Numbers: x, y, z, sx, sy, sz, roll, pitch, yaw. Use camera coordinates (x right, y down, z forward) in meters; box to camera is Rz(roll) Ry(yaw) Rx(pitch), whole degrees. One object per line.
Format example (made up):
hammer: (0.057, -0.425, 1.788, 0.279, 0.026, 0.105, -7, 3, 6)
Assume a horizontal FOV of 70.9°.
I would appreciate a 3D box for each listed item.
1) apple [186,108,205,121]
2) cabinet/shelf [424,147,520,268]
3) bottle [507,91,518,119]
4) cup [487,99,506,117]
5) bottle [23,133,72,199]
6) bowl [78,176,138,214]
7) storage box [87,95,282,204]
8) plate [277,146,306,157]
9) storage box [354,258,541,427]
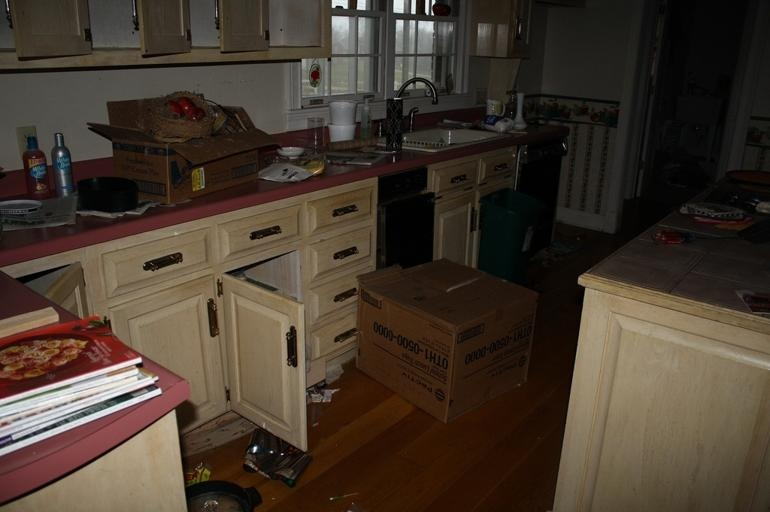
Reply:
apple: (-0.889, -0.669, 2.545, 0.082, 0.043, 0.079, -12, 48, -26)
cabinet/shelf: (0.567, -0.302, 3.652, 0.361, 0.637, 0.718, 13, 24, 36)
bottle: (1.115, -1.339, 4.799, 0.064, 0.233, 0.198, 13, 27, 32)
cup: (0.919, -1.246, 4.537, 0.209, 0.169, 0.131, 0, 11, -1)
bottle: (-1.516, -0.402, 2.403, 0.241, 0.269, 0.173, 15, 28, 36)
bowl: (-1.176, -0.259, 2.353, 0.276, 0.110, 0.206, 3, 6, 11)
storage box: (-0.984, -0.544, 2.589, 0.647, 0.409, 0.771, 19, 24, 25)
plate: (-0.535, -0.594, 3.076, 0.089, 0.025, 0.088, 11, 24, 24)
storage box: (0.281, 0.383, 3.086, 0.853, 0.618, 0.851, -13, 24, -36)
